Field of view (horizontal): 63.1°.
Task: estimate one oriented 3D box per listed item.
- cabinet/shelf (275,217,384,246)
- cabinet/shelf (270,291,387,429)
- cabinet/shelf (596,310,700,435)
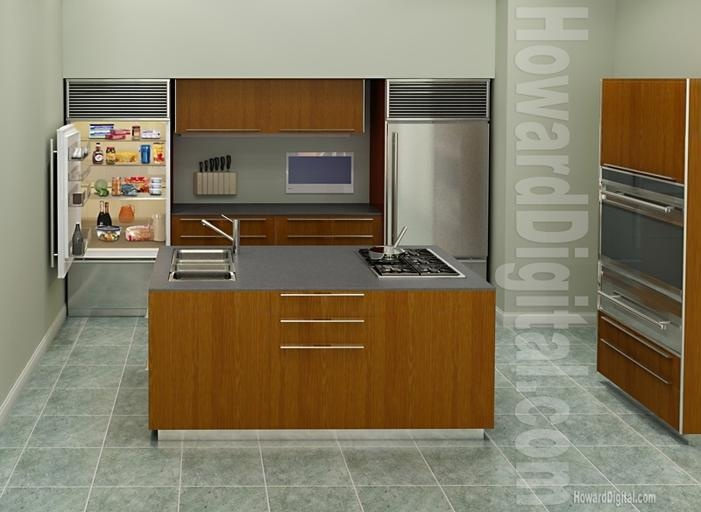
[{"bbox_3d":[-0.239,-0.287,6.225,1.163,0.302,0.089,0,12,-7],"label":"cabinet/shelf"},{"bbox_3d":[-0.160,0.630,3.834,0.901,1.140,0.800,0,0,-1],"label":"cabinet/shelf"},{"bbox_3d":[1.992,0.777,3.792,0.322,0.389,0.859,0,9,-1],"label":"cabinet/shelf"}]
